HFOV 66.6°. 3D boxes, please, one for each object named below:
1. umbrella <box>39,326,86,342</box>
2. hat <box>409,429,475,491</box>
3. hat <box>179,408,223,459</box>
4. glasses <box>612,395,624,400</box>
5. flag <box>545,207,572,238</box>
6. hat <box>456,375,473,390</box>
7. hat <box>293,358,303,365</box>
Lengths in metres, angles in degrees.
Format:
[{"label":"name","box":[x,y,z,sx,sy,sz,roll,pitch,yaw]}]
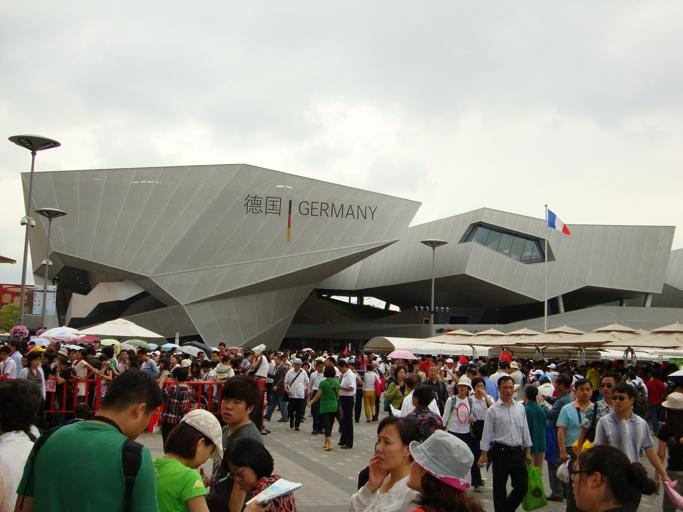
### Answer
[{"label":"umbrella","box":[-10.867,3.071,20.353,1.110,0.421,1.111,3,-7,-11]},{"label":"hat","box":[0.548,1.124,2.856,0.328,0.325,0.230,2,-8,9]},{"label":"hat","box":[-0.864,1.153,3.469,0.346,0.185,0.241,32,-4,-22]},{"label":"glasses","box":[2.954,1.506,5.525,0.039,0.068,0.121,9,-10,-33]},{"label":"flag","box":[13.586,-1.870,32.969,2.252,2.451,0.312,23,-44,-12]},{"label":"hat","box":[1.920,1.960,8.070,0.206,0.134,0.249,0,-19,14]},{"label":"hat","box":[-1.239,2.988,14.682,0.190,0.183,0.229,2,3,3]}]
